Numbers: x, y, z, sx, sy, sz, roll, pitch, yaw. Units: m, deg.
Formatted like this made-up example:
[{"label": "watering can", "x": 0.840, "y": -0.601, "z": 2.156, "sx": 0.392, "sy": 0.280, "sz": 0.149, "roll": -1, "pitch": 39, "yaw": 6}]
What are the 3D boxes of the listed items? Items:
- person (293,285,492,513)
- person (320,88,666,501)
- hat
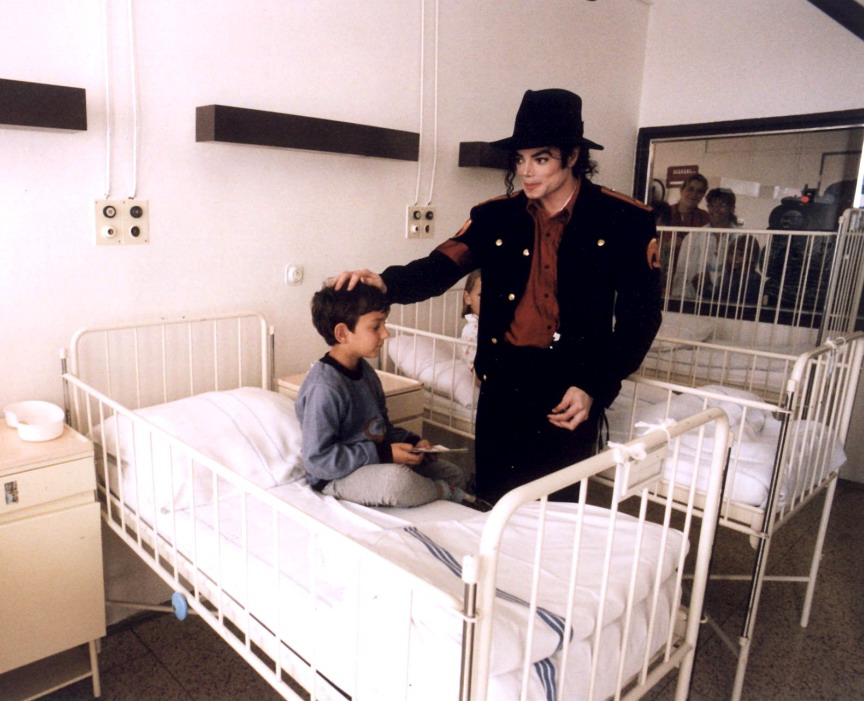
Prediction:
[{"label": "person", "x": -0.129, "y": 0.142, "z": 2.252, "sx": 0.592, "sy": 0.737, "sz": 0.457, "roll": 4, "pitch": 8, "yaw": 13}, {"label": "person", "x": 0.240, "y": 0.057, "z": 2.399, "sx": 0.941, "sy": 1.764, "sz": 0.534, "roll": 3, "pitch": 22, "yaw": 11}, {"label": "hat", "x": 0.358, "y": -0.717, "z": 2.121, "sx": 0.377, "sy": 0.201, "sz": 0.293, "roll": 0, "pitch": 25, "yaw": 0}]
